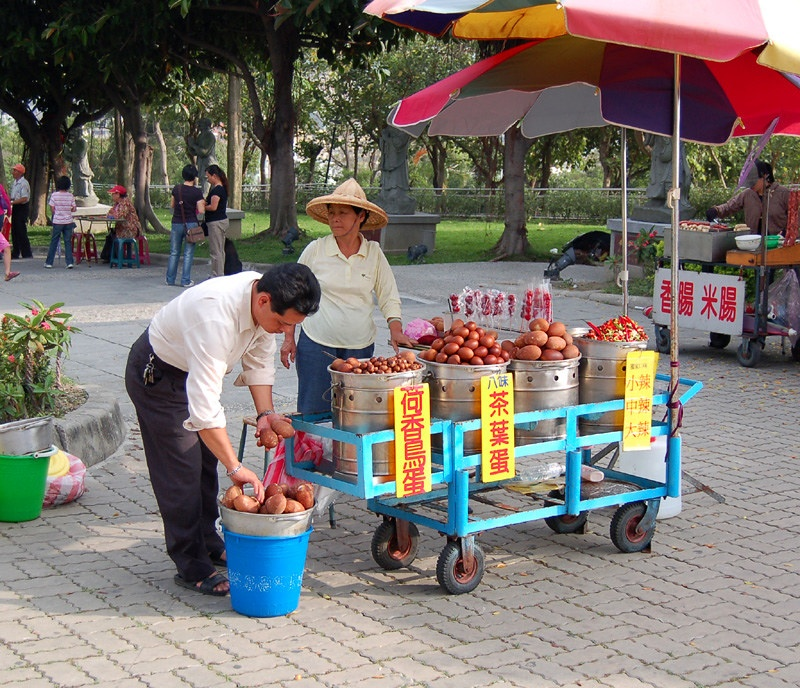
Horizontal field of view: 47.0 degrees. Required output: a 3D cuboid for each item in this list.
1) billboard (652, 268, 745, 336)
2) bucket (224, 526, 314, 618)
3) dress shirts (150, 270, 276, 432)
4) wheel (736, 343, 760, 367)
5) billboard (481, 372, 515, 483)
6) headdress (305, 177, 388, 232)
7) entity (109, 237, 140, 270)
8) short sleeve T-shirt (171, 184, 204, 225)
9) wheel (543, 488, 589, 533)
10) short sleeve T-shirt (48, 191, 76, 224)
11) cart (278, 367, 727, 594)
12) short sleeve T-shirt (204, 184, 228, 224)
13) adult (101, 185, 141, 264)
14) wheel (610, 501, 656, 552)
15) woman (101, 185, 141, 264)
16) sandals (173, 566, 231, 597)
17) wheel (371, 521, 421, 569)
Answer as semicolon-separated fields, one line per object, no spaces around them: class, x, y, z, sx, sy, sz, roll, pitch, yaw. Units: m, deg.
billboard;3.433;-0.494;10.962;1.409;0.639;0.447;5;-2;-24
bucket;-0.703;1.180;4.860;0.500;0.422;0.505;1;-2;0
dress shirts;-0.918;0.068;4.761;0.646;0.859;0.594;-5;14;-23
wheel;4.045;0.133;10.568;0.089;0.240;0.253;-1;8;-30
billboard;0.562;0.457;5.080;0.148;0.591;0.319;12;17;39
headdress;-0.356;-0.913;6.082;0.535;0.359;0.742;0;12;-5
entity;-6.101;-2.003;20.459;0.689;0.753;0.712;0;2;-29
short sleeve T-shirt;-3.764;-2.458;16.207;0.496;0.687;0.716;-3;13;-16
wheel;1.033;1.026;5.635;0.357;0.328;0.121;-8;11;-33
short sleeve T-shirt;-7.075;-2.818;19.146;0.449;0.698;0.690;-4;13;-20
cart;0.662;0.720;5.524;2.464;1.025;1.142;-1;1;-29
short sleeve T-shirt;-3.140;-2.355;15.572;0.350;0.649;0.652;-2;13;-13
adult;-6.171;-2.569;20.106;0.805;1.767;2.465;-3;13;-18
wheel;1.427;1.106;5.572;0.309;0.283;0.097;-11;11;-24
woman;-6.158;-2.569;20.107;0.778;1.767;2.459;-4;13;-18
sandals;-1.085;1.277;5.001;0.299;0.084;0.121;4;9;28
wheel;-0.023;1.171;5.328;0.350;0.356;0.123;-1;3;-39
